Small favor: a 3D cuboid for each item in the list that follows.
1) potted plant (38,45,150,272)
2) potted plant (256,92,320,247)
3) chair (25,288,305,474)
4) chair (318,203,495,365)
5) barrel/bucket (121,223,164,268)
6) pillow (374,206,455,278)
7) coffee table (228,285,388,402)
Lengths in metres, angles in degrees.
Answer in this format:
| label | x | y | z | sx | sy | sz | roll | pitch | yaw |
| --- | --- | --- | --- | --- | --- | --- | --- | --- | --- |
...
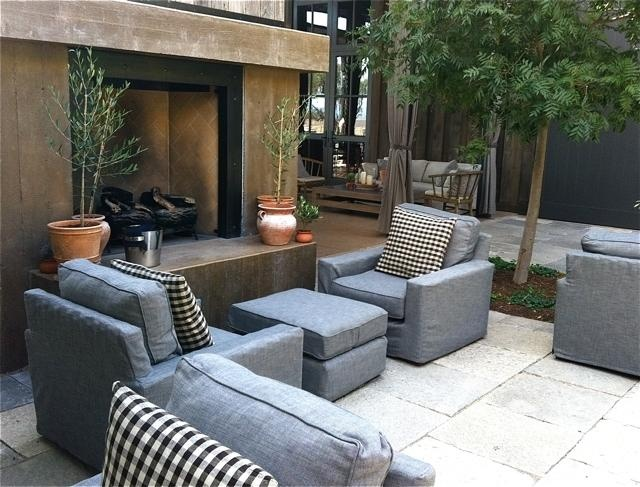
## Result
| label | x | y | z | sx | sy | sz | roll | pitch | yaw |
| --- | --- | --- | --- | --- | --- | --- | --- | --- | --- |
| potted plant | -1.620 | -0.647 | 3.516 | 0.542 | 1.406 | 1.365 | -2 | 13 | -8 |
| potted plant | -0.353 | -0.685 | 4.540 | 0.463 | 1.306 | 0.852 | -1 | 14 | -3 |
| chair | -0.686 | 0.535 | 2.485 | 1.065 | 0.714 | 1.055 | 10 | 12 | 38 |
| chair | 0.871 | 0.216 | 3.973 | 1.289 | 1.100 | 1.317 | -7 | 11 | -43 |
| barrel/bucket | -1.258 | 0.020 | 3.609 | 0.274 | 0.248 | 0.322 | 8 | 12 | 29 |
| pillow | 0.779 | 0.003 | 3.946 | 0.599 | 0.503 | 0.179 | 12 | -8 | 41 |
| coffee table | -0.037 | 0.570 | 3.199 | 0.907 | 0.490 | 0.692 | 8 | 11 | 42 |
